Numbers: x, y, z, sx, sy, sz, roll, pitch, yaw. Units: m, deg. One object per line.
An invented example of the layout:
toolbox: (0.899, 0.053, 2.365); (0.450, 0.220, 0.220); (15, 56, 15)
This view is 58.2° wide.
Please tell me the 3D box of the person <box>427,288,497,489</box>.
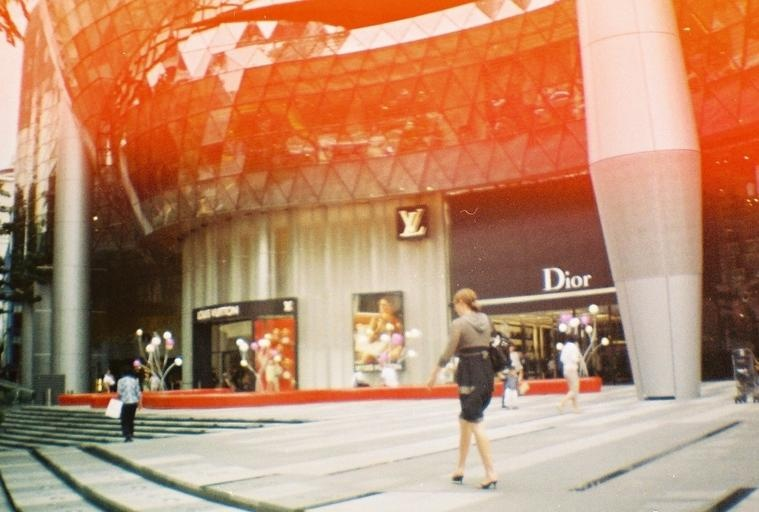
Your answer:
person: (1.234, 1.813, 9.603); (0.835, 2.792, 0.997); (-4, -9, 3)

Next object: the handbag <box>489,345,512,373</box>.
handbag: (1.674, 1.447, 9.563); (0.383, 0.329, 0.285); (-1, -7, 8)

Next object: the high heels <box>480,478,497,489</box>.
high heels: (1.485, 3.099, 9.264); (0.213, 0.137, 0.193); (-4, -9, 7)

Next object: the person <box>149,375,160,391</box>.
person: (-11.575, 6.508, 34.936); (0.381, 0.780, 2.565); (0, -9, -20)

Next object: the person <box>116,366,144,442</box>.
person: (-5.950, 3.466, 16.109); (0.476, 1.726, 1.020); (0, -10, -21)

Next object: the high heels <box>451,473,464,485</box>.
high heels: (1.093, 3.137, 9.536); (0.101, 0.116, 0.183); (1, 5, -8)
